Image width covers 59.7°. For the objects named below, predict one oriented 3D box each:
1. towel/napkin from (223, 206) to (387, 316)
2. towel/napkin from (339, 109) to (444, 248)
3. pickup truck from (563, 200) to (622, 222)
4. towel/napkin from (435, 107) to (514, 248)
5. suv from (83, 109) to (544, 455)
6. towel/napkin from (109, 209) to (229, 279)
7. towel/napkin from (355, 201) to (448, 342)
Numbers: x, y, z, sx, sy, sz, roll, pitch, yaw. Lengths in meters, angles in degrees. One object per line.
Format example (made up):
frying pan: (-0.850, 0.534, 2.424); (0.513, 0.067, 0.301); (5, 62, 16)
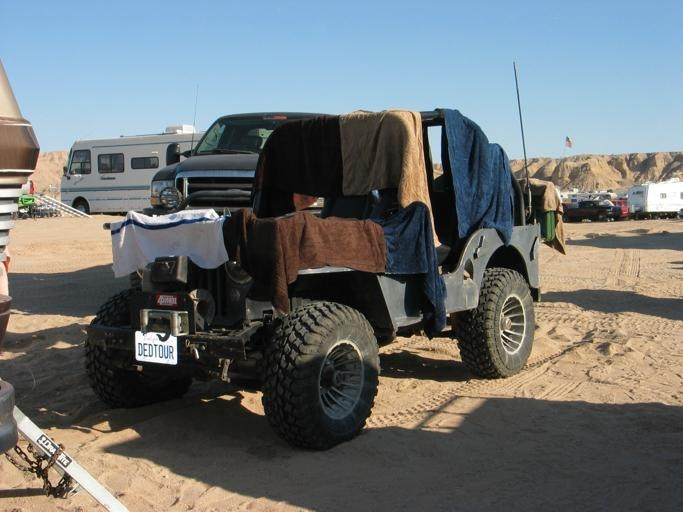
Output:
towel/napkin: (-0.294, -0.092, 5.506); (1.071, 0.674, 1.656); (2, 7, 39)
towel/napkin: (0.417, -0.774, 6.271); (1.120, 1.466, 0.442); (3, 10, 30)
pickup truck: (15.798, -2.876, 37.647); (3.822, 1.758, 2.145); (-2, 5, -11)
towel/napkin: (1.406, -0.758, 6.560); (0.568, 1.494, 1.046); (-6, -3, 44)
suv: (0.012, 0.089, 6.661); (2.739, 2.747, 4.693); (-2, -1, 39)
towel/napkin: (-1.528, -0.102, 5.279); (1.311, 0.601, 0.342); (3, 7, 29)
towel/napkin: (0.688, 0.105, 5.664); (0.746, 1.232, 0.343); (-5, 6, 25)
